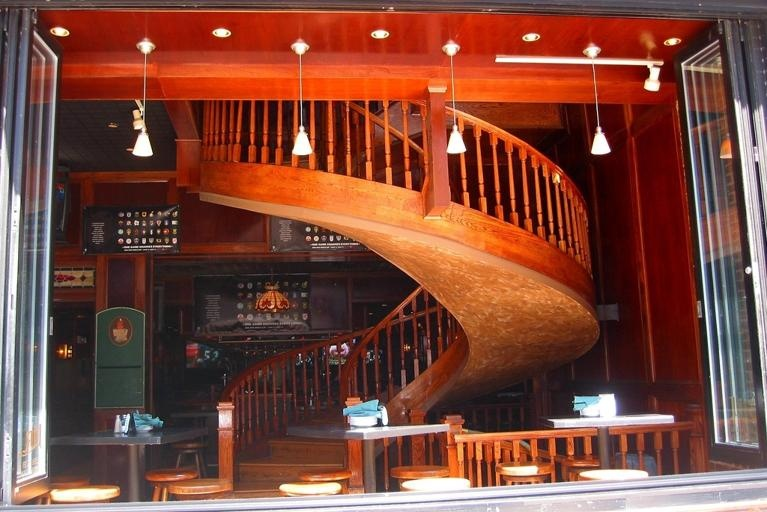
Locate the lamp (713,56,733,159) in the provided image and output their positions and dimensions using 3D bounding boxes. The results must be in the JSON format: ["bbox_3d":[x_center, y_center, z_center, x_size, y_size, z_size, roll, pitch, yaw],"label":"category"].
[{"bbox_3d":[2.661,-1.084,6.300,0.058,0.694,0.198,-4,-7,12],"label":"lamp"}]

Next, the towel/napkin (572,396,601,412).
[{"bbox_3d":[1.809,1.312,7.192,0.244,0.163,0.144,-1,-6,16],"label":"towel/napkin"}]

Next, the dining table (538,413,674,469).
[{"bbox_3d":[1.941,1.495,7.034,0.746,0.644,0.700,0,-17,-6],"label":"dining table"}]

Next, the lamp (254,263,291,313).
[{"bbox_3d":[-1.663,0.618,12.016,0.480,0.550,0.466,-1,-3,22],"label":"lamp"}]

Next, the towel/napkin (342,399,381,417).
[{"bbox_3d":[-0.199,1.350,7.187,0.272,0.104,0.182,0,-7,2],"label":"towel/napkin"}]
